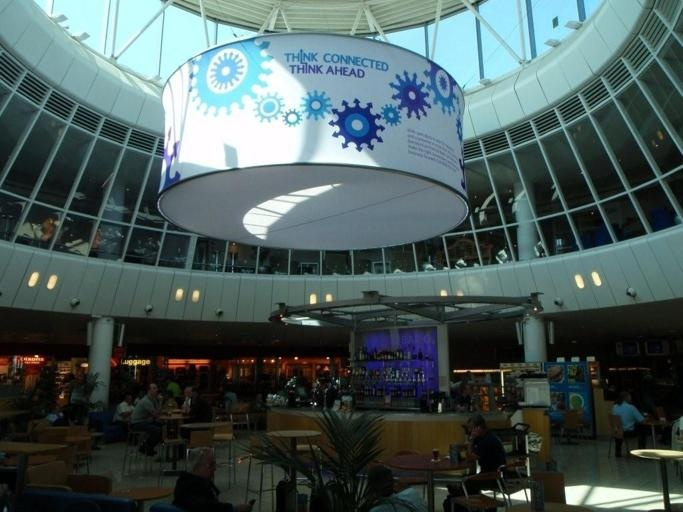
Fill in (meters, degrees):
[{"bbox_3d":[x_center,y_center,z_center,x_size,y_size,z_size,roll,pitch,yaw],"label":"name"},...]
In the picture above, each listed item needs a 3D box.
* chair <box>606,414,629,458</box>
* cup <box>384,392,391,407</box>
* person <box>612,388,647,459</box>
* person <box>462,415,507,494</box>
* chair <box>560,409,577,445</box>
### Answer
[{"bbox_3d":[7.360,4.797,12.232,0.362,1.090,0.819,-6,-16,16],"label":"chair"},{"bbox_3d":[1.448,4.582,14.621,0.279,0.502,0.289,0,-17,0],"label":"cup"},{"bbox_3d":[7.722,4.524,12.364,0.906,1.823,0.791,2,-4,-22],"label":"person"},{"bbox_3d":[2.082,2.894,6.705,0.551,1.063,1.175,-6,-16,16],"label":"person"},{"bbox_3d":[7.916,5.876,15.991,0.599,1.032,2.311,-8,-17,23],"label":"chair"}]
